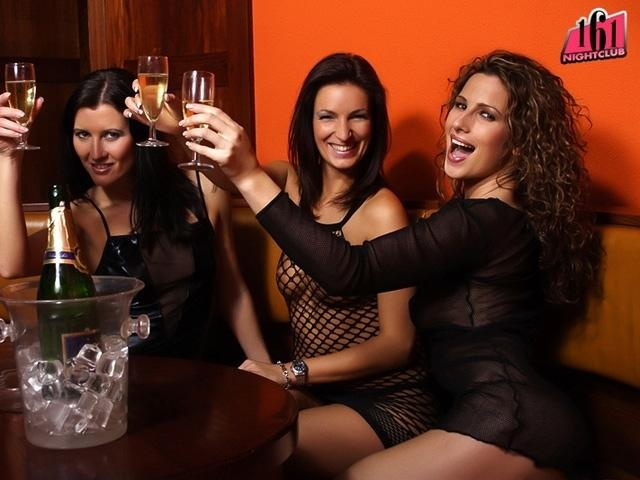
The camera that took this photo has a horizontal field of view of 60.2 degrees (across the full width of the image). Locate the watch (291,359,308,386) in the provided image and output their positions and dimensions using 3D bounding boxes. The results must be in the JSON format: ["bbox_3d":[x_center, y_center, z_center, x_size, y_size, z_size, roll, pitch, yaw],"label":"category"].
[{"bbox_3d":[-0.065,0.435,1.802,0.049,0.075,0.075,2,15,-4],"label":"watch"}]
